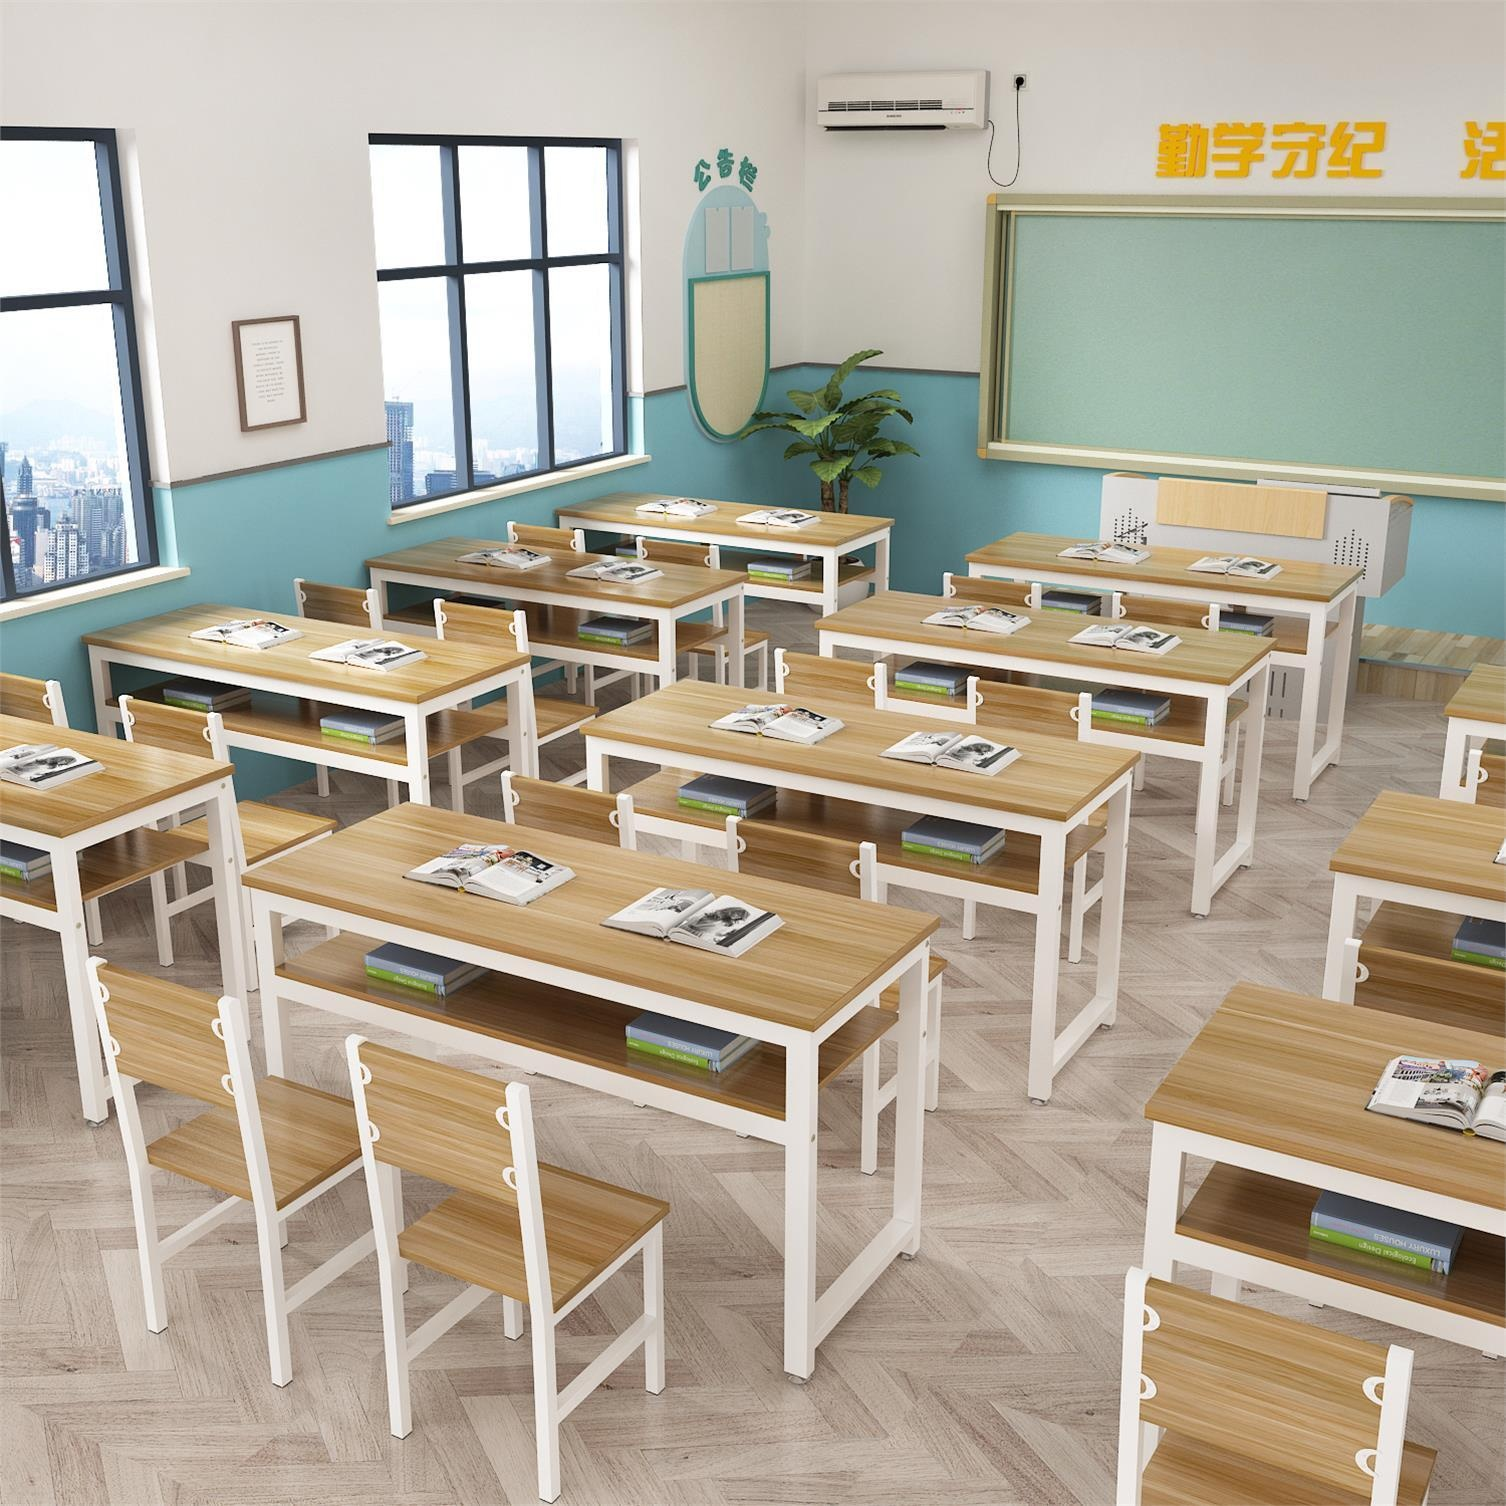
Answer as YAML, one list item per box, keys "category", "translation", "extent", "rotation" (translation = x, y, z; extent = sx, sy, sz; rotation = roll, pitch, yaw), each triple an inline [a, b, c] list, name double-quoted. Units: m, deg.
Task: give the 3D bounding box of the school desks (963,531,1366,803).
- category: "school desks"
  translation: [1.555, -0.317, 5.174]
  extent: [1.392, 0.659, 0.501]
  rotation: [10, 22, 30]

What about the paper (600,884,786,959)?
- category: "paper"
  translation: [-0.110, 0.334, 2.782]
  extent: [0.307, 0.039, 0.246]
  rotation: [6, 17, 26]

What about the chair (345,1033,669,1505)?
- category: "chair"
  translation: [-0.412, 0.815, 2.410]
  extent: [0.422, 0.853, 0.415]
  rotation: [9, 21, 27]

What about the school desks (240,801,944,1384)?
- category: "school desks"
  translation: [-0.315, 0.720, 2.794]
  extent: [1.204, 0.518, 0.449]
  rotation: [11, 26, 24]

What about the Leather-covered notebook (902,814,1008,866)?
- category: "Leather-covered notebook"
  translation: [0.516, 0.229, 3.610]
  extent: [0.178, 0.032, 0.164]
  rotation: [8, 17, 28]

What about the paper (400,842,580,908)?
- category: "paper"
  translation: [-0.551, 0.259, 2.980]
  extent: [0.225, 0.026, 0.146]
  rotation: [11, 19, 26]

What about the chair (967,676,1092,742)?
- category: "chair"
  translation: [0.849, -0.131, 4.256]
  extent: [0.358, 0.119, 0.097]
  rotation: [11, 28, 28]

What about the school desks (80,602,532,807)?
- category: "school desks"
  translation: [-1.559, -0.184, 4.702]
  extent: [0.959, 0.350, 0.331]
  rotation: [11, 25, 21]

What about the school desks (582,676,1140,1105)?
- category: "school desks"
  translation: [0.282, 0.346, 3.418]
  extent: [1.314, 0.582, 0.480]
  rotation: [10, 21, 29]

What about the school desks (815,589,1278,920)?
- category: "school desks"
  translation: [0.931, 0.007, 4.352]
  extent: [1.399, 0.660, 0.499]
  rotation: [9, 21, 28]

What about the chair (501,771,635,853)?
- category: "chair"
  translation: [-0.481, 0.158, 3.523]
  extent: [0.147, 0.219, 0.134]
  rotation: [12, 39, 17]
